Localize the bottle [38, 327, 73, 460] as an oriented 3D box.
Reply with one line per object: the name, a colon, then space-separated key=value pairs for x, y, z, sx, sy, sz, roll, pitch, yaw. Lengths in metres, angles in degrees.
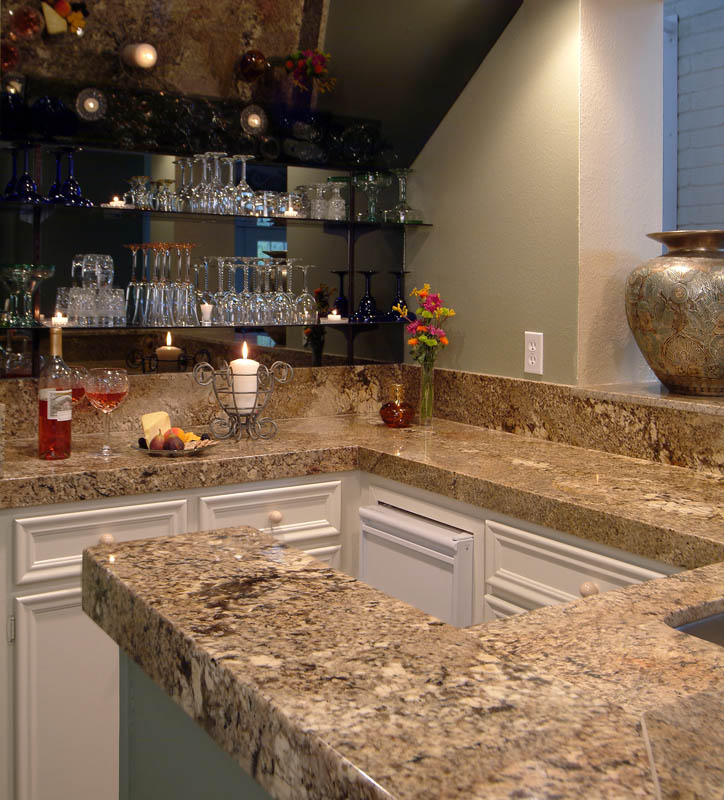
bottle: x=-0.930 y=-0.035 z=2.138 sx=0.115 sy=0.375 sz=0.361 roll=8 pitch=-4 yaw=-23

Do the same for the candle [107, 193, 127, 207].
candle: x=-0.834 y=-0.684 z=2.373 sx=0.072 sy=0.045 sz=0.070 roll=0 pitch=3 yaw=-3

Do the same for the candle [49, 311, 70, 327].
candle: x=-0.983 y=-0.259 z=2.267 sx=0.066 sy=0.068 sz=0.065 roll=1 pitch=2 yaw=-42

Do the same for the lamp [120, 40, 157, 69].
lamp: x=-0.762 y=-1.167 z=2.376 sx=0.091 sy=0.086 sz=0.100 roll=2 pitch=17 yaw=-29

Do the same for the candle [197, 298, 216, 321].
candle: x=-0.535 y=-0.316 z=2.432 sx=0.067 sy=0.094 sz=0.063 roll=3 pitch=2 yaw=-8

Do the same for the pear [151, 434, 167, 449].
pear: x=-0.611 y=0.131 z=2.105 sx=0.039 sy=0.040 sz=0.057 roll=6 pitch=-3 yaw=5

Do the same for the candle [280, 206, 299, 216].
candle: x=-0.271 y=-0.712 z=2.612 sx=0.042 sy=0.038 sz=0.010 roll=-39 pitch=32 yaw=-22

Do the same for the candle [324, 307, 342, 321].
candle: x=-0.118 y=-0.354 z=2.864 sx=0.059 sy=0.061 sz=0.057 roll=1 pitch=-1 yaw=5

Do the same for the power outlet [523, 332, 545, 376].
power outlet: x=0.614 y=-0.167 z=2.486 sx=0.029 sy=0.163 sz=0.092 roll=9 pitch=-4 yaw=-33

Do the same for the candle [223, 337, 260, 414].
candle: x=-0.409 y=-0.047 z=2.403 sx=0.098 sy=0.177 sz=0.115 roll=7 pitch=-3 yaw=-6

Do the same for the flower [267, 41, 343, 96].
flower: x=-0.226 y=-1.261 z=2.660 sx=0.182 sy=0.119 sz=0.176 roll=2 pitch=5 yaw=0

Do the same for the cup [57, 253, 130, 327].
cup: x=-0.899 y=-0.377 z=2.407 sx=0.257 sy=0.235 sz=0.251 roll=2 pitch=8 yaw=0

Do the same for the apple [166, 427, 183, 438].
apple: x=-0.576 y=0.104 z=2.148 sx=0.043 sy=0.034 sz=0.035 roll=19 pitch=-5 yaw=1

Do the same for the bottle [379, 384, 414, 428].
bottle: x=0.168 y=0.022 z=2.735 sx=0.166 sy=0.196 sz=0.162 roll=1 pitch=-3 yaw=-32

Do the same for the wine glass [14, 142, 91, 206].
wine glass: x=-1.026 y=-0.745 z=2.280 sx=0.260 sy=0.163 sz=0.124 roll=-3 pitch=4 yaw=-34

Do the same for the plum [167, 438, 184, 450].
plum: x=-0.562 y=0.131 z=2.100 sx=0.040 sy=0.037 sz=0.039 roll=5 pitch=12 yaw=-27
